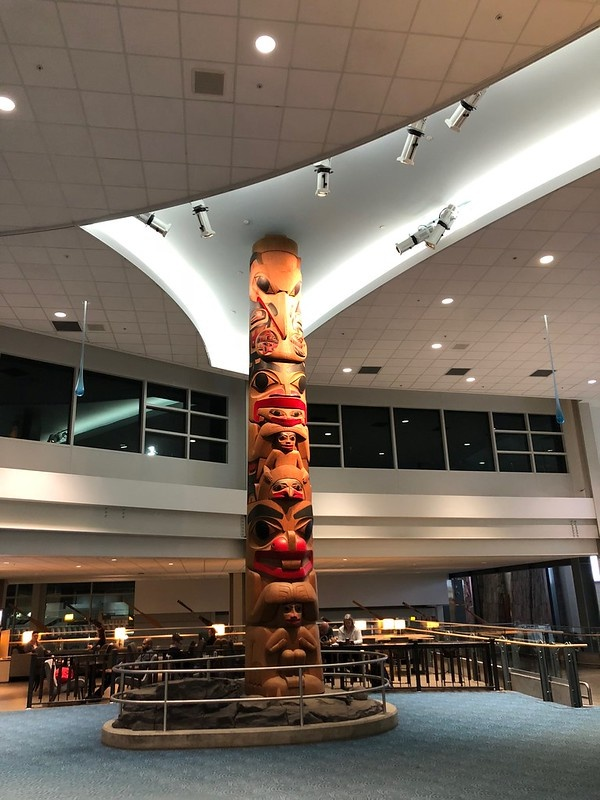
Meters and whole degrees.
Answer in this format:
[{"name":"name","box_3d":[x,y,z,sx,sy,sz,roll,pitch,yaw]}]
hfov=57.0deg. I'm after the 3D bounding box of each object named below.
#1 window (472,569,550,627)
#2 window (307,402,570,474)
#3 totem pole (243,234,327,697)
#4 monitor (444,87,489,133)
[{"name":"window","box_3d":[8.017,7.451,20.725,0.146,2.409,3.577,17,-31,-20]},{"name":"window","box_3d":[4.590,1.350,18.402,8.835,2.327,0.220,1,-21,-14]},{"name":"totem pole","box_3d":[-0.357,0.413,8.271,1.058,7.213,0.774,-3,-21,-1]},{"name":"monitor","box_3d":[1.830,-3.346,6.280,0.282,0.409,0.648,-6,-20,6]}]
